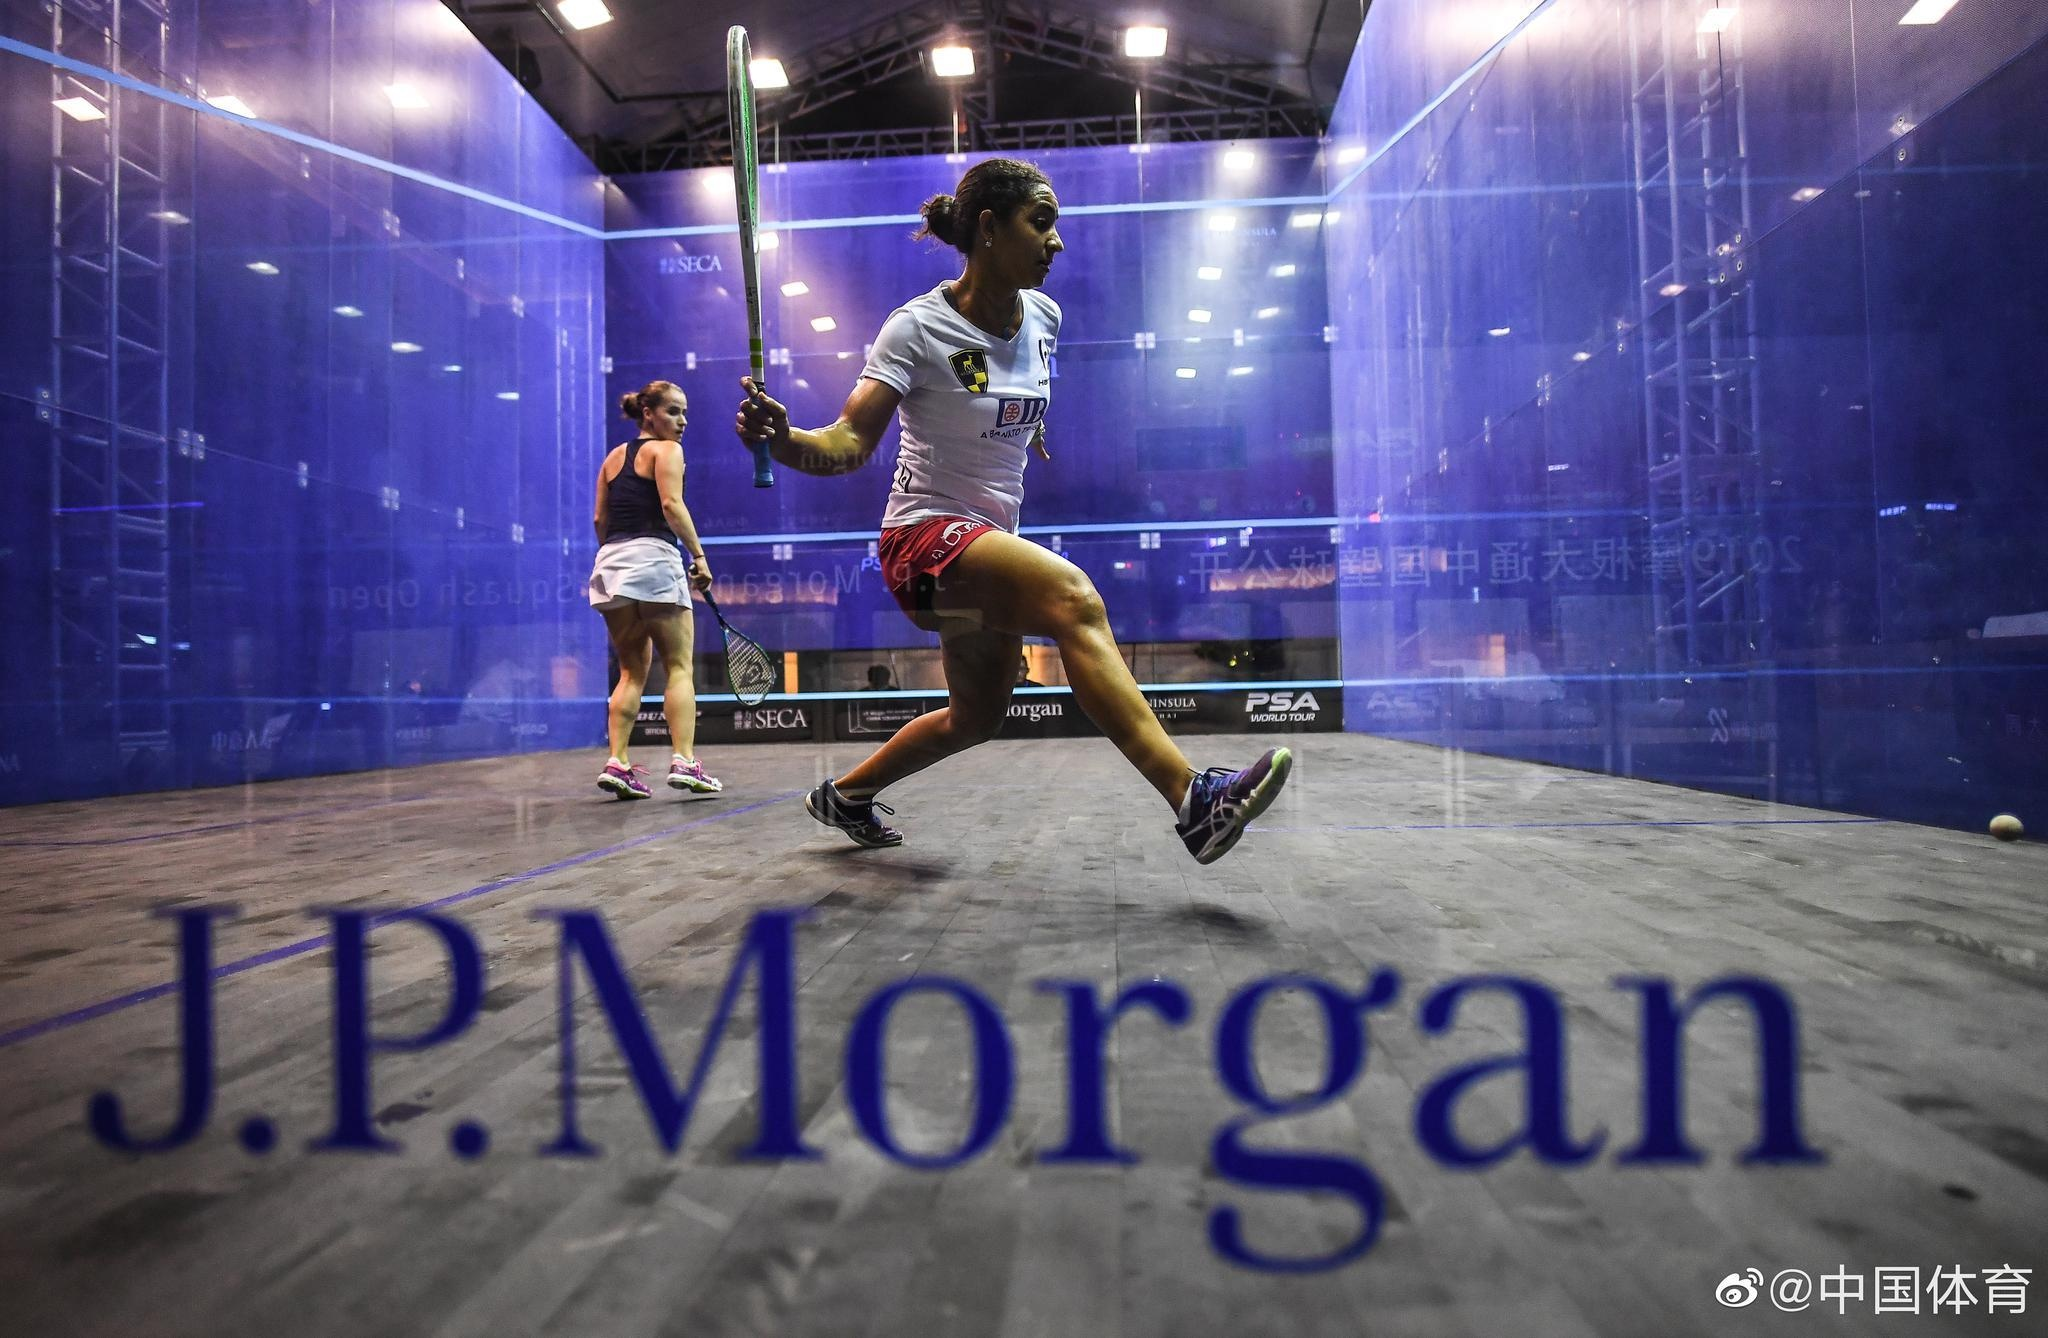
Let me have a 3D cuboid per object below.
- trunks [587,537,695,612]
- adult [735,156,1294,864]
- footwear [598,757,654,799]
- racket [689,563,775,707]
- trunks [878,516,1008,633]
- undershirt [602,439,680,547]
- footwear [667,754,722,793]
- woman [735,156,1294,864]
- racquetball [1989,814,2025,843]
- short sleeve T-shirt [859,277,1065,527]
[{"bbox_3d":[-1.407,-0.339,4.045,0.320,0.261,0.205,-3,1,-18],"label":"trunks"},{"bbox_3d":[-0.031,-0.303,2.420,0.929,1.305,0.879,-3,1,-4],"label":"adult"},{"bbox_3d":[-1.403,0.403,4.007,0.147,0.123,0.255,16,0,14],"label":"footwear"},{"bbox_3d":[-1.794,-0.218,6.918,0.079,0.380,1.057,-2,-24,18],"label":"racket"},{"bbox_3d":[-0.208,-0.209,2.343,0.219,0.265,0.303,-7,-7,-28],"label":"trunks"},{"bbox_3d":[-1.422,-0.645,4.047,0.259,0.389,0.138,-2,1,33],"label":"undershirt"},{"bbox_3d":[-1.178,0.388,4.029,0.123,0.150,0.315,0,-5,33],"label":"footwear"},{"bbox_3d":[-0.030,-0.386,2.849,1.580,1.678,1.202,1,3,30],"label":"woman"},{"bbox_3d":[2.184,0.355,2.480,0.059,0.054,0.053,-3,1,-11],"label":"racquetball"},{"bbox_3d":[-0.109,-0.545,2.400,0.289,0.532,0.557,28,34,36],"label":"short sleeve T-shirt"}]
